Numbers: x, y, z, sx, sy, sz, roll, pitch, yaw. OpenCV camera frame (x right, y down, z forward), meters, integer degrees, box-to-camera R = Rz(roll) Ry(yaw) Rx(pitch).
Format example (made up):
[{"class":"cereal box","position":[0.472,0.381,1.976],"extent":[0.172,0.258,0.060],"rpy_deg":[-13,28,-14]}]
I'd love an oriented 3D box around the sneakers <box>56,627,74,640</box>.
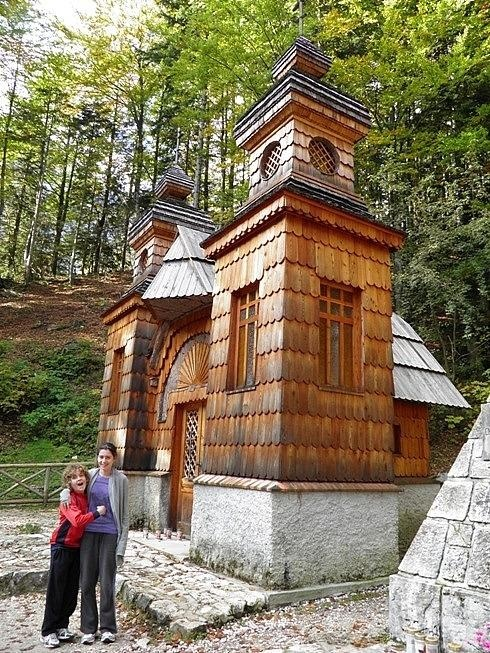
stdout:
[{"class":"sneakers","position":[-1.546,2.596,3.954],"extent":[0.179,0.082,0.071],"rpy_deg":[-13,-51,41]}]

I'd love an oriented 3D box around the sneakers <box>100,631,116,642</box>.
[{"class":"sneakers","position":[-1.142,2.602,3.867],"extent":[0.069,0.058,0.131],"rpy_deg":[4,-7,-2]}]

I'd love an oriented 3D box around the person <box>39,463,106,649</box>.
[{"class":"person","position":[-1.485,1.932,3.998],"extent":[0.451,1.421,0.354],"rpy_deg":[-8,-14,42]}]

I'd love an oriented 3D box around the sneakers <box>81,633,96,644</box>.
[{"class":"sneakers","position":[-1.279,2.551,3.811],"extent":[0.058,0.066,0.157],"rpy_deg":[3,-29,1]}]
